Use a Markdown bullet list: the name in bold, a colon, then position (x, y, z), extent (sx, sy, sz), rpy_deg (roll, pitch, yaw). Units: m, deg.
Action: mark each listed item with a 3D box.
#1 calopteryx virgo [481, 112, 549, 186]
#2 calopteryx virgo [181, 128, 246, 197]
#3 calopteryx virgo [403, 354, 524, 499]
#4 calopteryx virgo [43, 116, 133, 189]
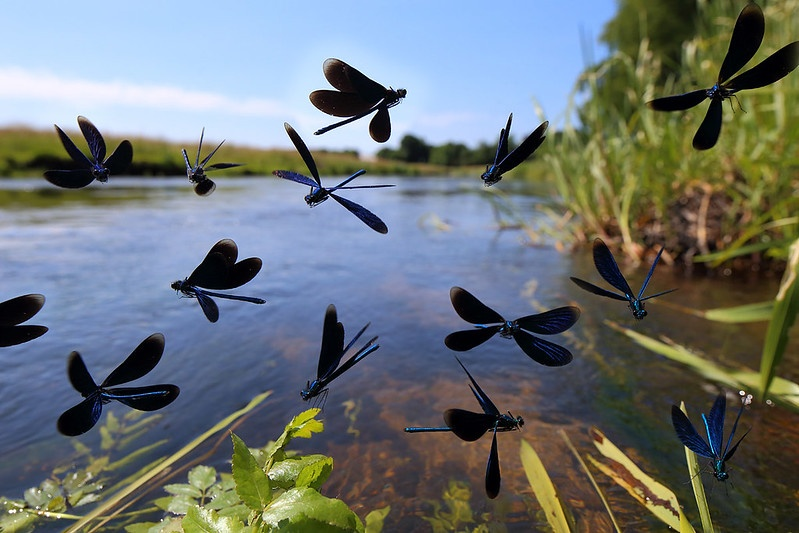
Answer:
- **calopteryx virgo**: position (0.744, -0.732, 4.851), extent (0.383, 0.487, 0.192), rpy_deg (10, 20, 16)
- **calopteryx virgo**: position (-1.231, -0.630, 4.900), extent (0.272, 0.342, 0.429), rpy_deg (-12, 25, -39)
- **calopteryx virgo**: position (0.579, 1.113, 5.087), extent (0.499, 0.986, 0.639), rpy_deg (10, 20, 16)
- **calopteryx virgo**: position (-2.036, -0.744, 4.915), extent (0.508, 0.477, 0.328), rpy_deg (5, 19, 1)
